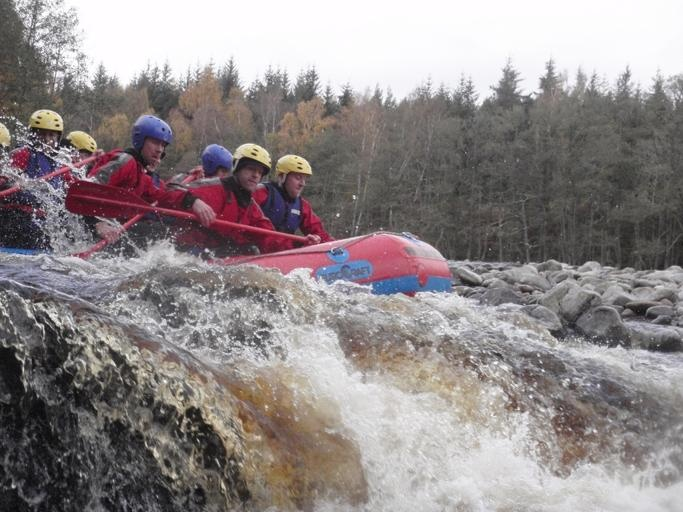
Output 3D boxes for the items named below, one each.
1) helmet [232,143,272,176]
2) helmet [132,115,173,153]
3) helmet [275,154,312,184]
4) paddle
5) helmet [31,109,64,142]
[{"bbox_3d":[-1.073,-1.186,8.688,0.437,0.461,0.354,12,0,39],"label":"helmet"},{"bbox_3d":[-2.241,-1.422,8.350,0.412,0.380,0.392,4,7,17],"label":"helmet"},{"bbox_3d":[-0.625,-1.158,9.309,0.406,0.387,0.322,19,9,22],"label":"helmet"},{"bbox_3d":[-1.710,-0.431,7.793,3.106,0.527,0.157,11,-11,16],"label":"paddle"},{"bbox_3d":[-4.108,-1.797,9.901,0.456,0.506,0.391,5,8,16],"label":"helmet"}]
